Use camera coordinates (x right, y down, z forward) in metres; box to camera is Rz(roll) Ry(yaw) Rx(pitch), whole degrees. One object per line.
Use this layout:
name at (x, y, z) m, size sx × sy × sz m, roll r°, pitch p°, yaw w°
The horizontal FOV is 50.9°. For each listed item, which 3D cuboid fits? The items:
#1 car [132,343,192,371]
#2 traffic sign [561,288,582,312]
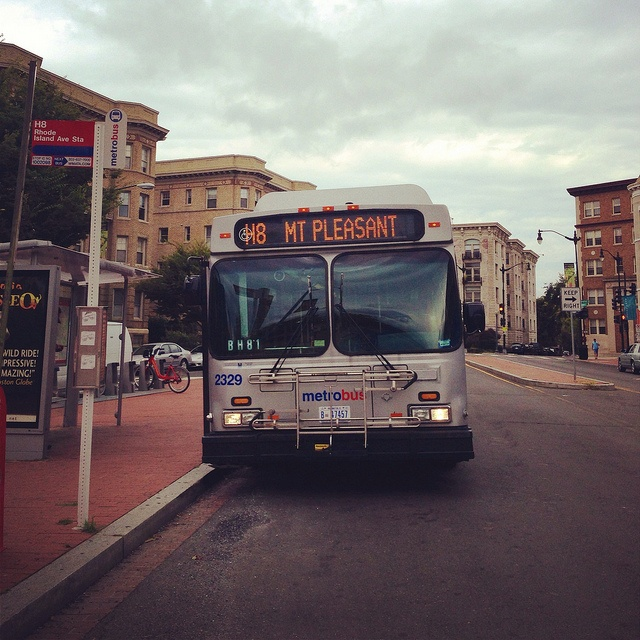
car at (-6.164, 1.465, 26.280) m, size 1.127 × 0.917 × 2.480 m, roll -5°, pitch -13°, yaw 26°
traffic sign at (8.303, -0.679, 22.082) m, size 0.540 × 0.767 × 1.861 m, roll 2°, pitch 1°, yaw 21°
